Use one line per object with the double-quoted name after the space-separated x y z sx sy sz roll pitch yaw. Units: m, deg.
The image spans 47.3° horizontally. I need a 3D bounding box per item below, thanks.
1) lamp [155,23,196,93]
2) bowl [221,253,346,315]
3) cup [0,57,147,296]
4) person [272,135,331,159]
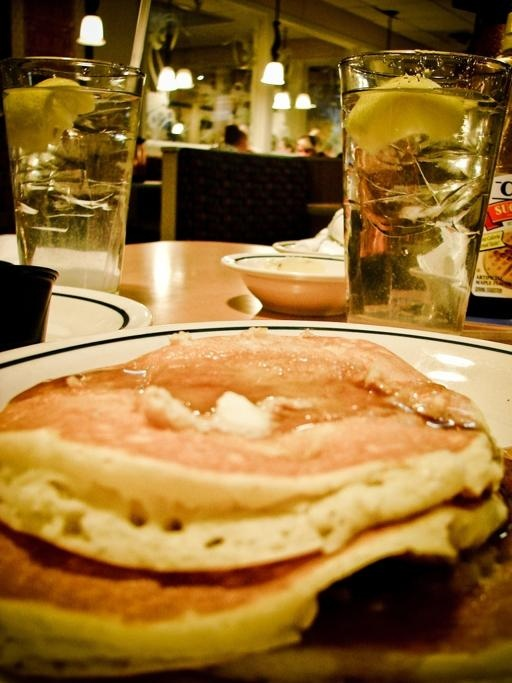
-0.851 -2.997 6.320 0.391 0.681 1.515 3 16 -8 "lamp"
0.032 -0.055 0.557 0.095 0.027 0.097 4 19 -1 "bowl"
-0.164 -0.145 0.527 0.120 0.205 0.089 1 17 -17 "cup"
0.499 -2.175 6.700 0.638 0.243 0.765 -1 14 -3 "person"
